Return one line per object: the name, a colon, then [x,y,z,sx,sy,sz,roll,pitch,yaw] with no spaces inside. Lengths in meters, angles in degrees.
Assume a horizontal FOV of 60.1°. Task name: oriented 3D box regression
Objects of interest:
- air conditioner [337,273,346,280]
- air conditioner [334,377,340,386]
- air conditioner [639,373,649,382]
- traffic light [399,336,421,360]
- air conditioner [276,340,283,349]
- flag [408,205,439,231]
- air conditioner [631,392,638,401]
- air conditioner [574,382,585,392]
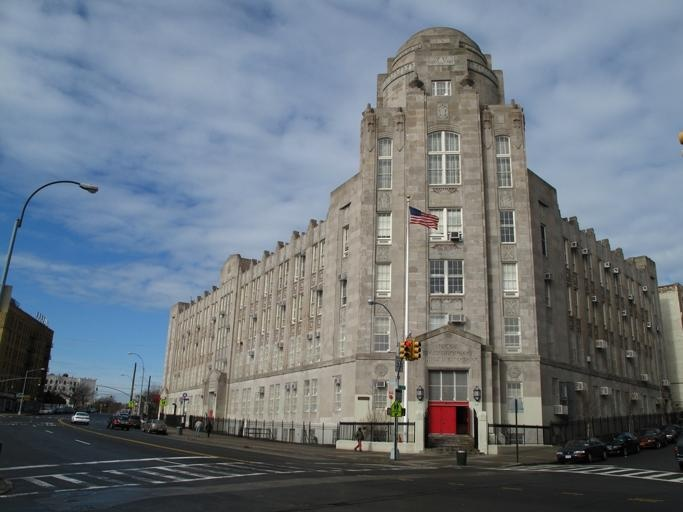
air conditioner: [0.117,1.925,55.685,0.478,0.609,0.885,8,-21,-15]
air conditioner: [-0.264,11.296,53.102,0.289,0.721,1.255,9,-23,-20]
air conditioner: [37.504,15.057,73.045,1.256,0.911,0.717,10,-12,-36]
traffic light: [4.624,6.230,39.488,1.190,1.331,1.172,0,-22,0]
air conditioner: [-6.823,10.079,66.427,0.781,1.087,0.783,9,-17,-25]
flag: [6.690,-3.074,48.771,2.487,1.869,0.272,11,-42,-6]
air conditioner: [34.034,16.305,68.376,1.179,0.766,0.636,3,-5,-21]
air conditioner: [22.517,12.172,55.440,0.873,1.098,2.068,-9,-24,21]
